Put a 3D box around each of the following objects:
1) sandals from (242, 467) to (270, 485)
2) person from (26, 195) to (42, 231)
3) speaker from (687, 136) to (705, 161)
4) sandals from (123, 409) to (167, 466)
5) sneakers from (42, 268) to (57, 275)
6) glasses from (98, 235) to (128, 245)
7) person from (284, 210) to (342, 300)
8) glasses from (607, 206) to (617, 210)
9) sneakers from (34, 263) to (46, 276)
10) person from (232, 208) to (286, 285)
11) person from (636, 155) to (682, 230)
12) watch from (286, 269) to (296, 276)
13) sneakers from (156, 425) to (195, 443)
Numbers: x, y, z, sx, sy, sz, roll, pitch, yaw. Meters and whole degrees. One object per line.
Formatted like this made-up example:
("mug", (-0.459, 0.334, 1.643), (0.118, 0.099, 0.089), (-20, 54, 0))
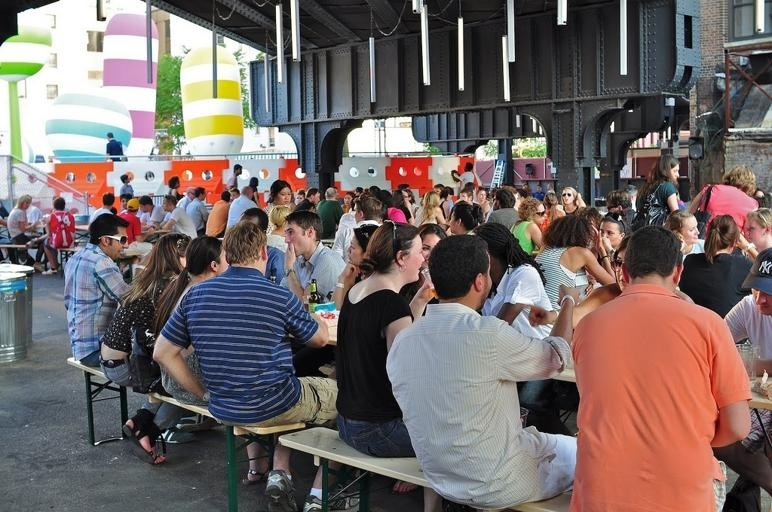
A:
("sandals", (-1.395, 2.375, 8.397), (0.315, 0.114, 0.123), (-1, 1, -38))
("person", (-9.111, -1.066, 20.151), (0.483, 0.801, 0.956), (-2, 4, -19))
("speaker", (8.639, -3.000, 21.808), (0.305, 0.666, 0.742), (0, 4, 14))
("sandals", (-2.737, 1.907, 8.625), (0.215, 0.283, 0.644), (-26, 27, -19))
("sneakers", (-8.442, 0.394, 19.493), (0.398, 0.196, 0.153), (4, 3, 12))
("glasses", (-3.575, -0.205, 10.185), (0.212, 0.079, 0.228), (2, 2, 1))
("person", (-0.932, -0.046, 10.136), (0.899, 1.391, 0.926), (-2, 3, -21))
("glasses", (3.796, -0.803, 13.145), (0.130, 0.044, 0.133), (5, -1, -11))
("sneakers", (-8.723, 0.359, 19.649), (0.189, 0.242, 0.539), (2, -10, -17))
("person", (-1.403, -0.082, 8.715), (0.335, 0.914, 0.641), (-8, -19, -9))
("person", (4.051, -0.958, 11.725), (0.652, 1.115, 1.060), (1, 4, 19))
("watch", (-1.169, 0.212, 9.470), (0.091, 0.066, 0.085), (-9, -15, 37))
("sneakers", (-2.514, 2.123, 9.309), (0.410, 0.197, 0.183), (-2, -1, 16))
